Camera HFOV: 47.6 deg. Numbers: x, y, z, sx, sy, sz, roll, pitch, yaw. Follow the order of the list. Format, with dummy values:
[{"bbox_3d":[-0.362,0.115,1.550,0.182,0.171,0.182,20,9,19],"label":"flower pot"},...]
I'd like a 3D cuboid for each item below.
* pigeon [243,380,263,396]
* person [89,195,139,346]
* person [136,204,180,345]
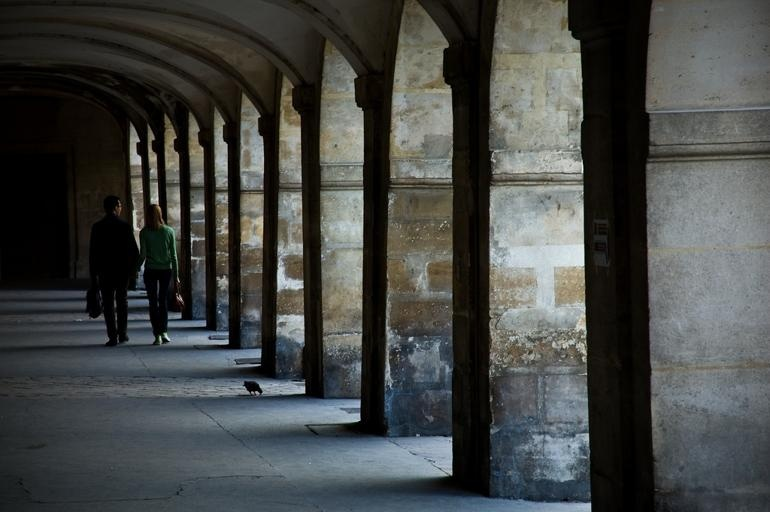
[{"bbox_3d":[-1.401,1.356,9.111,0.270,0.174,0.107,3,11,38],"label":"pigeon"},{"bbox_3d":[-3.661,0.222,11.824,0.616,1.972,1.021,2,-4,-20],"label":"person"},{"bbox_3d":[-3.155,0.246,12.197,0.503,1.955,0.807,1,-4,-14],"label":"person"}]
